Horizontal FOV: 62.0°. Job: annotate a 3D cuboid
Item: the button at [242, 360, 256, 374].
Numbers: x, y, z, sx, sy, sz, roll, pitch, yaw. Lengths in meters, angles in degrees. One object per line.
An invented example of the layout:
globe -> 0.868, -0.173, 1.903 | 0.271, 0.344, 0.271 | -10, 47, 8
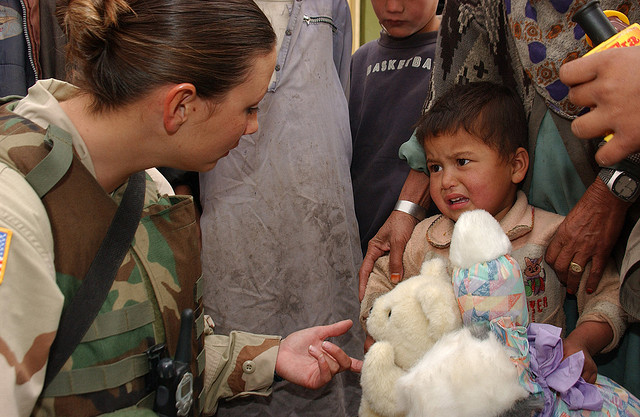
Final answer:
button -> -0.226, 0.500, 1.701 | 0.042, 0.031, 0.023 | -6, 28, -7

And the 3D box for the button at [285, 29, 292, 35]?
button -> -0.125, -0.701, 2.118 | 0.019, 0.022, 0.005 | -1, 4, 11

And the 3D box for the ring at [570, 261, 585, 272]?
ring -> 0.805, 0.178, 1.665 | 0.032, 0.019, 0.027 | 38, 20, 27

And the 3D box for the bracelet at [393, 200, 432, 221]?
bracelet -> 0.361, 0.027, 2.027 | 0.081, 0.098, 0.085 | 26, -18, -34
